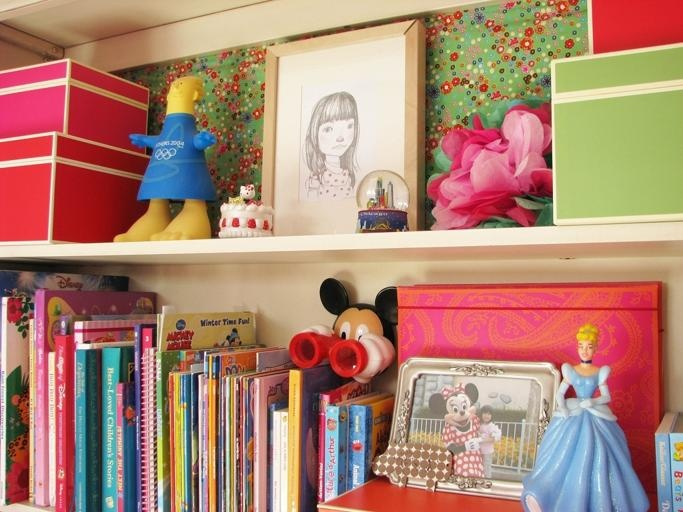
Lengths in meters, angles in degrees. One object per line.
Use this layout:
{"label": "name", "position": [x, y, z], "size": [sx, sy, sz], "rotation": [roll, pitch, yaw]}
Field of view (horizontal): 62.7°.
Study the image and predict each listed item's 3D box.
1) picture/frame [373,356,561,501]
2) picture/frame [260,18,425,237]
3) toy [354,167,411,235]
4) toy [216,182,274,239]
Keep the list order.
{"label": "picture/frame", "position": [0.231, 0.308, 0.985], "size": [0.228, 0.190, 0.020], "rotation": [-3, -29, 30]}
{"label": "picture/frame", "position": [0.015, -0.276, 1.252], "size": [0.490, 0.606, 0.064], "rotation": [-3, -5, 33]}
{"label": "toy", "position": [0.073, -0.097, 1.092], "size": [0.111, 0.129, 0.117], "rotation": [0, -6, -2]}
{"label": "toy", "position": [-0.199, -0.082, 1.178], "size": [0.111, 0.113, 0.114], "rotation": [1, -5, 3]}
